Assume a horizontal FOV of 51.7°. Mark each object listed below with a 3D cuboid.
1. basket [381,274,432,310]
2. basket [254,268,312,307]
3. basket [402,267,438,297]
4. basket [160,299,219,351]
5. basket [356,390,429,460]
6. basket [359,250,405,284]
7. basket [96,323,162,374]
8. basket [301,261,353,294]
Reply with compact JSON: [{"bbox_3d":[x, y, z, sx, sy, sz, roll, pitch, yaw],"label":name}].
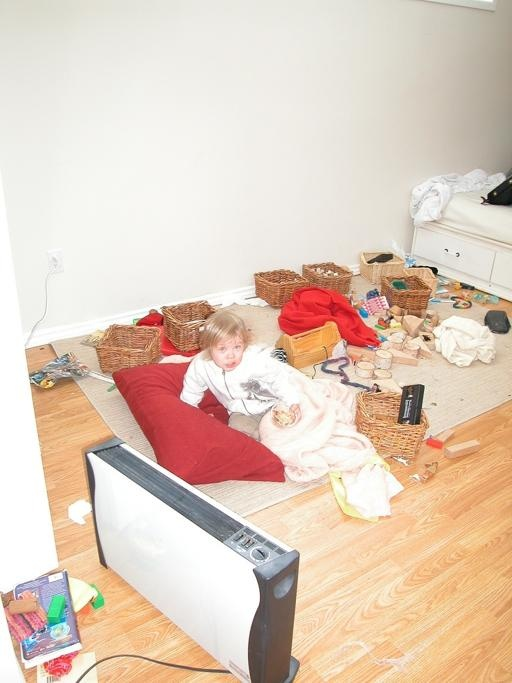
[{"bbox_3d":[0.953,-0.296,3.413,0.230,0.123,0.311,0,26,-1],"label":"basket"},{"bbox_3d":[0.154,-0.354,3.422,0.250,0.138,0.312,-15,30,-22],"label":"basket"},{"bbox_3d":[1.137,-0.437,3.643,0.232,0.133,0.217,5,35,7],"label":"basket"},{"bbox_3d":[-0.367,-0.057,2.875,0.261,0.148,0.316,-17,34,-24],"label":"basket"},{"bbox_3d":[0.537,0.326,2.104,0.272,0.213,0.265,1,21,15],"label":"basket"},{"bbox_3d":[0.897,-0.551,3.844,0.313,0.150,0.245,-19,36,-29],"label":"basket"},{"bbox_3d":[-0.642,-0.016,2.738,0.307,0.140,0.211,-1,0,0],"label":"basket"},{"bbox_3d":[0.474,-0.442,3.528,0.230,0.119,0.285,-12,29,-17],"label":"basket"}]
